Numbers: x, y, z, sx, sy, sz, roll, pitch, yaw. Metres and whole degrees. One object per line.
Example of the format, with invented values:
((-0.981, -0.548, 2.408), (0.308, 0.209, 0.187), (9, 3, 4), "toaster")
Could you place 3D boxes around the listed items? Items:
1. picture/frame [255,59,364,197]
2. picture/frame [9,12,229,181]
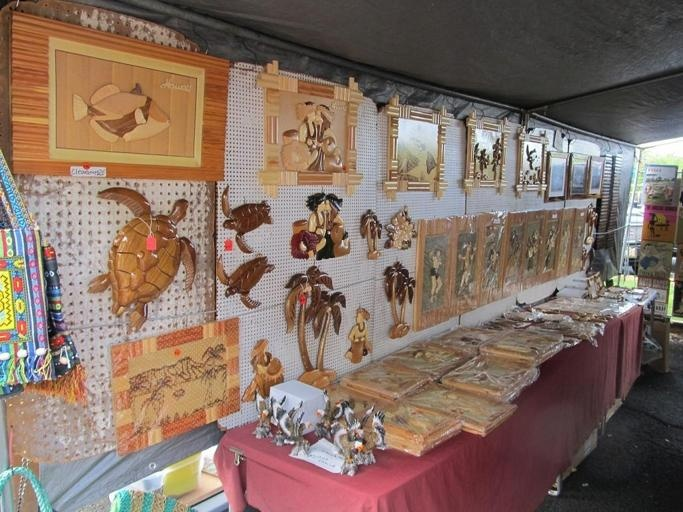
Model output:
((-0.182, -0.651, 2.414), (0.058, 0.653, 0.682), (4, 7, 39), "picture/frame")
((-0.858, -0.601, 1.804), (0.695, 0.518, 0.036), (-1, 5, -37), "picture/frame")
